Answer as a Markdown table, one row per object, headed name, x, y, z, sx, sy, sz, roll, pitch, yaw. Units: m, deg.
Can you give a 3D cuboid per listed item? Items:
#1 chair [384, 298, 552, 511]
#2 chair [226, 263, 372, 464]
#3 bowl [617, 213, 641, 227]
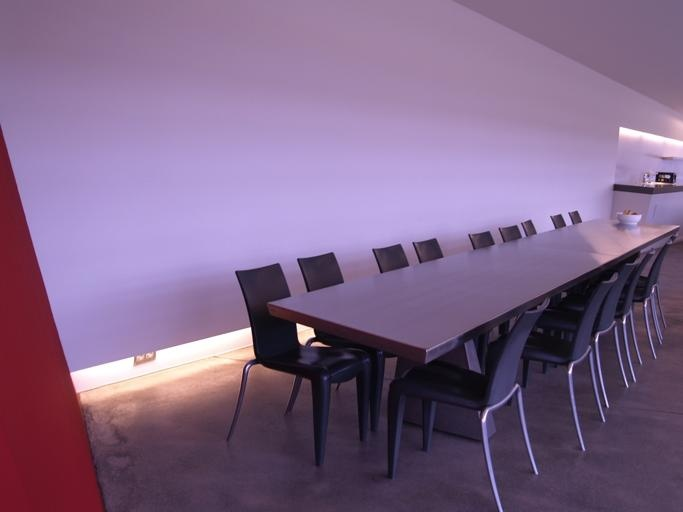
| name | x | y | z | sx | sy | sz | roll | pitch | yaw |
| --- | --- | --- | --- | --- | --- | --- | --- | --- | --- |
| chair | 0.707 | 0.663 | 2.956 | 1.060 | 1.420 | 0.890 | 7 | 8 | 34 |
| chair | -0.247 | 0.608 | 2.804 | 0.703 | 1.133 | 0.586 | -5 | 9 | 34 |
| bowl | 3.638 | -0.431 | 5.847 | 0.232 | 0.110 | 0.233 | 1 | 4 | 0 |
